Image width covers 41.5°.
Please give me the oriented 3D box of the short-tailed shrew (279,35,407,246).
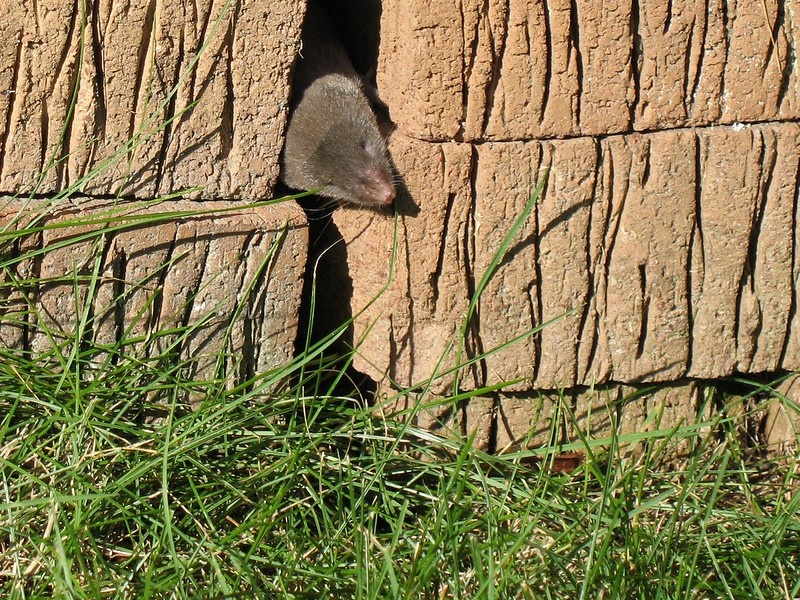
[{"bbox_3d":[-0.214,-0.612,3.657,0.285,0.867,0.276,22,-46,-40],"label":"short-tailed shrew"}]
